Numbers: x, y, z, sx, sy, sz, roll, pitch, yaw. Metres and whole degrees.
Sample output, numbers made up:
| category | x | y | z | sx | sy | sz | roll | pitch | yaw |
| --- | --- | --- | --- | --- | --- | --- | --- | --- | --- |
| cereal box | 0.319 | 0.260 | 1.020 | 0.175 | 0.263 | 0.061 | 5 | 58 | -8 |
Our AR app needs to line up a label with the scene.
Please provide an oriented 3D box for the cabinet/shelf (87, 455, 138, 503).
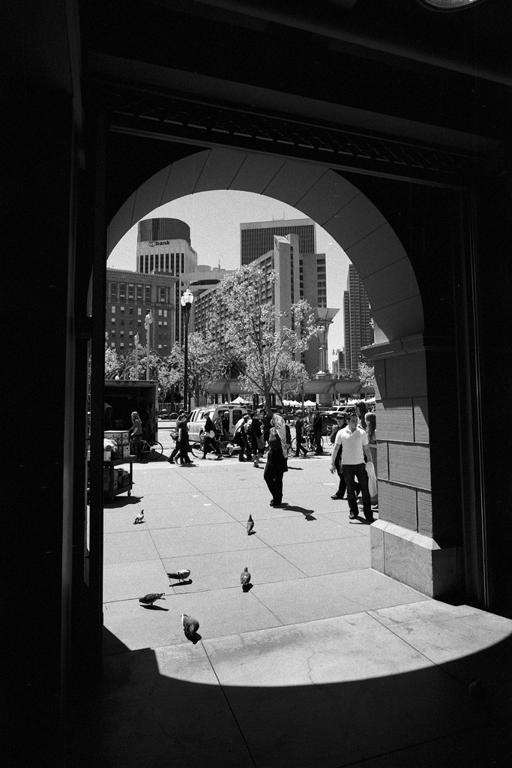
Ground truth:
| category | x | y | z | sx | sy | sz | roll | pitch | yaw |
| --- | --- | --- | --- | --- | --- | --- | --- | --- | --- |
| cabinet/shelf | -2.209 | 1.492 | 10.246 | 0.385 | 0.683 | 1.376 | 0 | -1 | -6 |

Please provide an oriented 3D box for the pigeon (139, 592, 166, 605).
| category | x | y | z | sx | sy | sz | roll | pitch | yaw |
| --- | --- | --- | --- | --- | --- | --- | --- | --- | --- |
| pigeon | -0.817 | 1.666 | 5.079 | 0.197 | 0.109 | 0.241 | 0 | -1 | -16 |

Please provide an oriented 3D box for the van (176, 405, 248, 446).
| category | x | y | z | sx | sy | sz | roll | pitch | yaw |
| --- | --- | --- | --- | --- | --- | --- | --- | --- | --- |
| van | -1.382 | 1.498 | 22.765 | 1.024 | 1.594 | 2.173 | 1 | 5 | -23 |

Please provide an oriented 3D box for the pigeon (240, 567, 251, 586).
| category | x | y | z | sx | sy | sz | roll | pitch | yaw |
| --- | --- | --- | --- | --- | --- | --- | --- | --- | --- |
| pigeon | -0.087 | 1.636 | 5.487 | 0.066 | 0.183 | 0.133 | -1 | -8 | 5 |

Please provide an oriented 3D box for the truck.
| category | x | y | z | sx | sy | sz | roll | pitch | yaw |
| --- | --- | --- | --- | --- | --- | --- | --- | --- | --- |
| truck | -3.757 | 0.971 | 20.740 | 1.651 | 2.678 | 1.545 | -2 | 5 | 11 |

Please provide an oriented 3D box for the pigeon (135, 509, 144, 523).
| category | x | y | z | sx | sy | sz | roll | pitch | yaw |
| --- | --- | --- | --- | --- | --- | --- | --- | --- | --- |
| pigeon | -1.549 | 1.738 | 8.587 | 0.076 | 0.181 | 0.106 | 22 | 0 | -10 |

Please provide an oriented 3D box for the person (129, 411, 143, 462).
| category | x | y | z | sx | sy | sz | roll | pitch | yaw |
| --- | --- | --- | --- | --- | --- | --- | --- | --- | --- |
| person | -3.083 | 1.355 | 16.707 | 0.337 | 1.324 | 2.053 | 0 | -1 | -11 |

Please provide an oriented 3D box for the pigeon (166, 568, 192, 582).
| category | x | y | z | sx | sy | sz | roll | pitch | yaw |
| --- | --- | --- | --- | --- | --- | --- | --- | --- | --- |
| pigeon | -0.687 | 1.674 | 5.716 | 0.203 | 0.115 | 0.265 | 0 | -1 | -9 |

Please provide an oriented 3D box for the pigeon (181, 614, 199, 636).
| category | x | y | z | sx | sy | sz | roll | pitch | yaw |
| --- | --- | --- | --- | --- | --- | --- | --- | --- | --- |
| pigeon | -0.452 | 1.605 | 4.388 | 0.092 | 0.086 | 0.170 | 6 | 44 | -39 |
